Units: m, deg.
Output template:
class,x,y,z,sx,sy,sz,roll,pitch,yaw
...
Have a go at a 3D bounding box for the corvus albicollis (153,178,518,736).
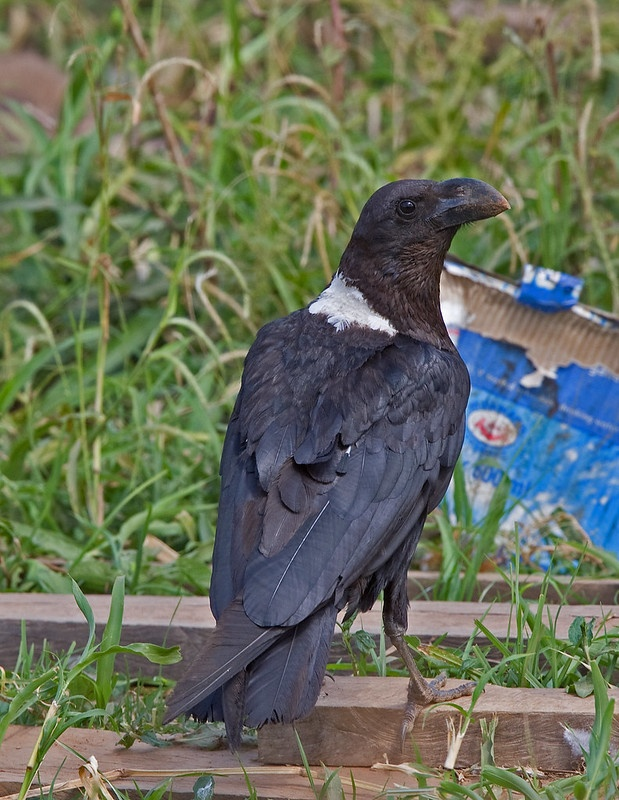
class,x,y,z,sx,sy,sz,roll,pitch,yaw
corvus albicollis,0.139,0.045,2.304,0.580,1.127,1.110,16,17,-7
